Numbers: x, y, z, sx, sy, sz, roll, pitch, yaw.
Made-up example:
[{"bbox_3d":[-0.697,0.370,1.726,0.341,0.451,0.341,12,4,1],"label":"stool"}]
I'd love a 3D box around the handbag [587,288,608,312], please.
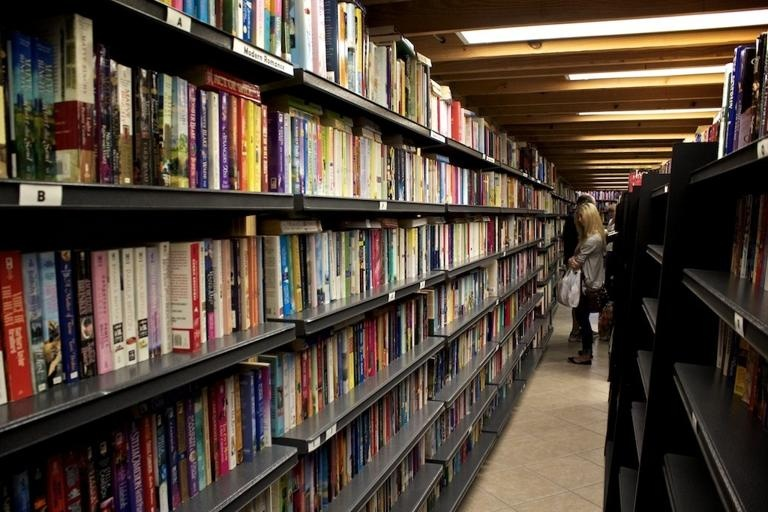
[{"bbox_3d":[2.362,0.484,6.861,0.246,0.403,0.241,0,0,10],"label":"handbag"}]
